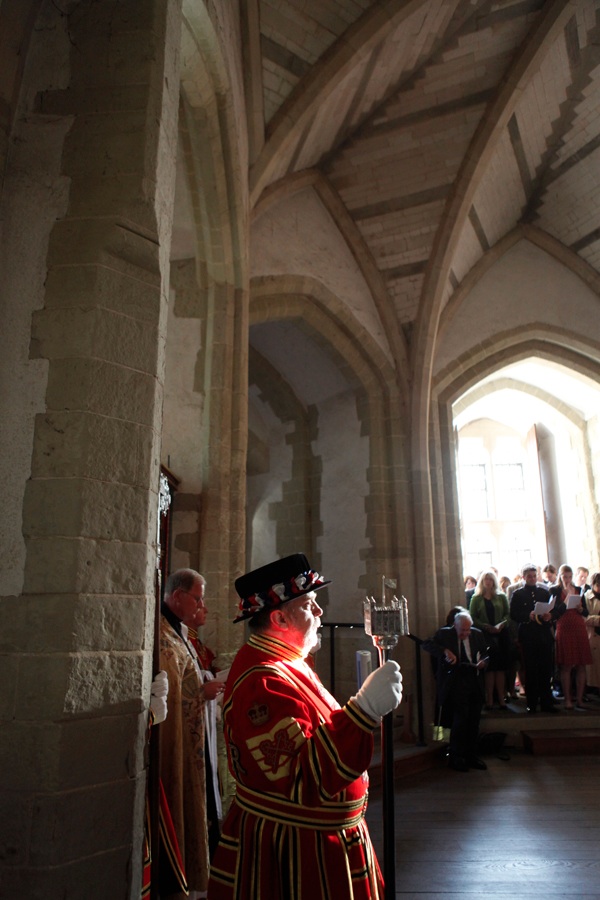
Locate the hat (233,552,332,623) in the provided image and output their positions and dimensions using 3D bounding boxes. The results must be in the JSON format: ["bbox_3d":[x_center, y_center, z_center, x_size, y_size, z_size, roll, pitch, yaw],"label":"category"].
[{"bbox_3d":[-0.048,0.354,1.748,0.202,0.082,0.175,-28,-5,-9],"label":"hat"}]

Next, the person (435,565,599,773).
[{"bbox_3d":[2.052,2.090,6.506,1.256,1.679,0.881,-2,-29,10],"label":"person"}]

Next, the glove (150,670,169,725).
[{"bbox_3d":[-0.396,0.700,1.951,0.042,0.131,0.092,1,-13,-6],"label":"glove"}]
